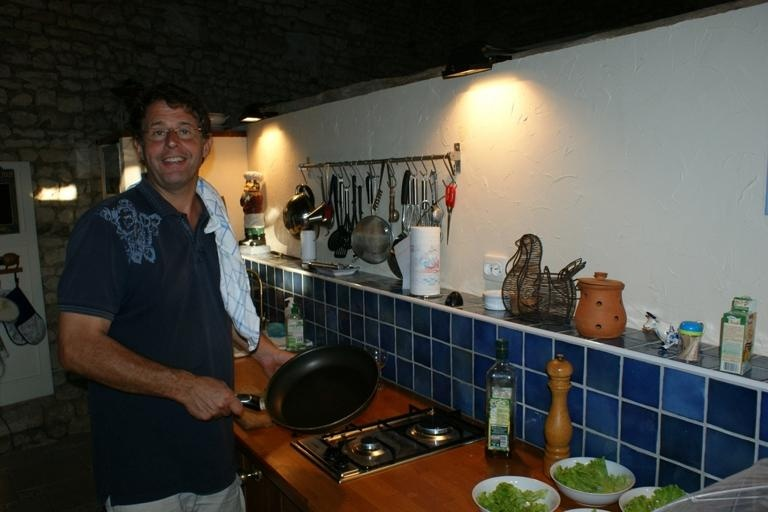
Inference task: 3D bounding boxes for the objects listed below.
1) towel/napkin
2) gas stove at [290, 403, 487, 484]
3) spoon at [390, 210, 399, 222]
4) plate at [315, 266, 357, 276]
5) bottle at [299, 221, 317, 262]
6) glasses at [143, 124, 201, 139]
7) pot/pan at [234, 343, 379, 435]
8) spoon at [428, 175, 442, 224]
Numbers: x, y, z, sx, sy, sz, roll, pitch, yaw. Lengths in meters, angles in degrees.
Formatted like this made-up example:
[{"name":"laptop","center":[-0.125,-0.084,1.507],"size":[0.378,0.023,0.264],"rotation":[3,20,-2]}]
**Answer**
[{"name":"towel/napkin","center":[-0.487,0.042,1.774],"size":[0.148,0.481,0.228],"rotation":[-1,10,-27]},{"name":"gas stove","center":[0.060,0.572,1.792],"size":[0.545,0.052,0.331],"rotation":[-5,4,-33]},{"name":"spoon","center":[0.047,-0.162,2.310],"size":[0.020,0.043,0.035],"rotation":[-2,13,-4]},{"name":"plate","center":[-0.218,0.071,2.521],"size":[0.187,0.039,0.103],"rotation":[4,11,11]},{"name":"bottle","center":[-0.368,-0.061,2.789],"size":[0.073,0.176,0.182],"rotation":[1,11,-6]},{"name":"glasses","center":[-0.573,-0.333,1.532],"size":[0.135,0.036,0.033],"rotation":[-3,12,-24]},{"name":"pot/pan","center":[-0.158,0.425,1.770],"size":[0.399,0.253,0.443],"rotation":[-1,10,-42]},{"name":"spoon","center":[0.199,-0.216,2.134],"size":[0.030,0.196,0.065],"rotation":[-3,13,-25]}]
